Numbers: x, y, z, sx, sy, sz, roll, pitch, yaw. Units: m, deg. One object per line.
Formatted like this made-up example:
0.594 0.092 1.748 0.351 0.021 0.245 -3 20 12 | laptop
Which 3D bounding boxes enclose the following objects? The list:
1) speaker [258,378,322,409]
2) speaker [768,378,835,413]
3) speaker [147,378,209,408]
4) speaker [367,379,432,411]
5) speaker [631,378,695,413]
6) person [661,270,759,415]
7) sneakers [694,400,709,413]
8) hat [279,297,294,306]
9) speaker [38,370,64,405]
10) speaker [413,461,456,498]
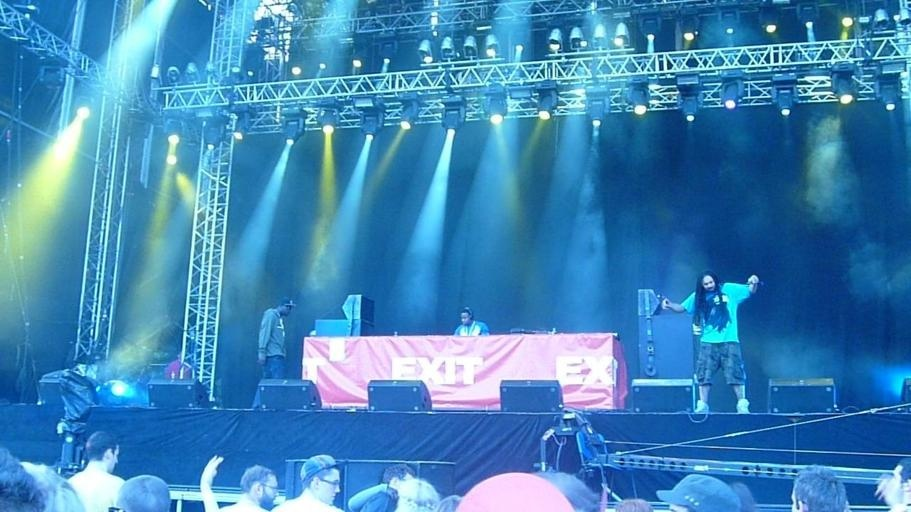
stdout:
-3.348 2.744 22.174 1.274 0.606 0.607 1 0 6 | speaker
6.702 2.689 21.769 1.300 0.592 0.585 -1 -4 9 | speaker
-5.596 2.767 22.614 1.152 0.593 0.511 2 -9 -16 | speaker
-1.099 2.737 21.911 1.260 0.599 0.625 0 -1 8 | speaker
3.951 2.733 21.966 1.250 0.520 0.810 1 -1 -9 | speaker
5.106 1.664 21.925 1.482 2.658 0.653 -2 -9 9 | person
4.677 2.901 21.463 0.305 0.136 0.179 9 -20 -42 | sneakers
-3.700 0.989 24.171 0.294 0.196 0.375 10 -5 -44 | hat
-8.246 2.723 23.427 0.686 0.604 0.520 -14 -2 32 | speaker
-0.381 4.069 20.473 0.708 0.582 0.644 1 -7 12 | speaker
